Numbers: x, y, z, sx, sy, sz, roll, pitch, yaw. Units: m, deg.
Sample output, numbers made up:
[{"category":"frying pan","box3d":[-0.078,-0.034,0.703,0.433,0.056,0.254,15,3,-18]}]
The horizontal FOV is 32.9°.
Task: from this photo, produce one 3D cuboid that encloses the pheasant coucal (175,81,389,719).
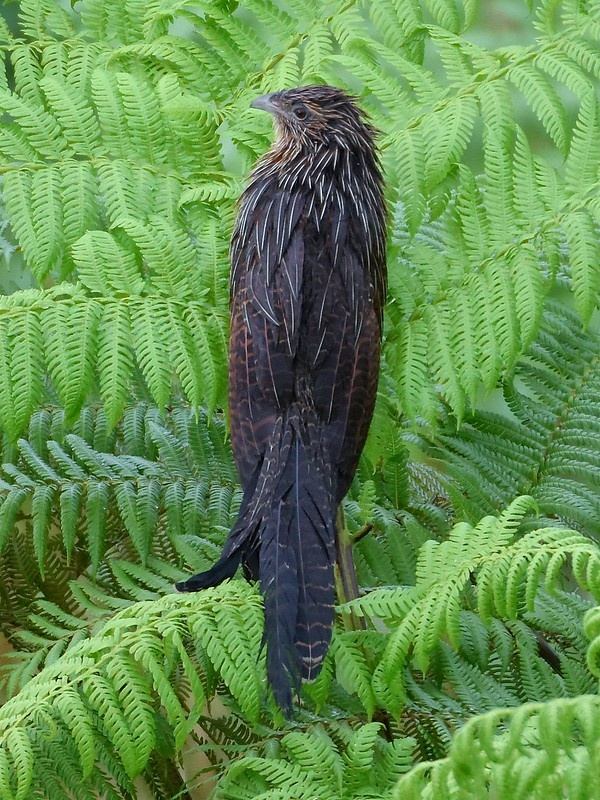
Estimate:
[{"category":"pheasant coucal","box3d":[0.023,-0.061,1.594,0.279,0.404,1.001,5,73,7]}]
